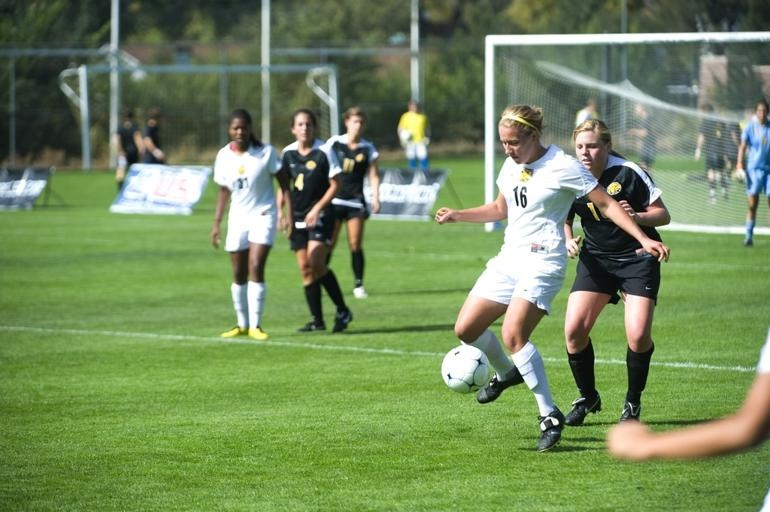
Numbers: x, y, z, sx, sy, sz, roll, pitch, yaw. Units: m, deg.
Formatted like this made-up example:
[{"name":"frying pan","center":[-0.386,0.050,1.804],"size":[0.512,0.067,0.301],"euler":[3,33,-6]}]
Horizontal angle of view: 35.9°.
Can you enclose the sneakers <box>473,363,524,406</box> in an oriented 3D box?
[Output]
[{"name":"sneakers","center":[1.219,1.405,12.846],"size":[0.644,0.283,0.247],"euler":[-34,22,16]}]

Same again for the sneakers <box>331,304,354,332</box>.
[{"name":"sneakers","center":[-0.591,0.848,15.411],"size":[0.150,0.202,0.429],"euler":[-11,38,55]}]

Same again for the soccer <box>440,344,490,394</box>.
[{"name":"soccer","center":[0.868,1.195,13.045],"size":[0.516,0.521,0.519],"euler":[-39,-2,3]}]

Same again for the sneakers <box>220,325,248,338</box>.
[{"name":"sneakers","center":[-1.912,0.971,15.057],"size":[0.272,0.115,0.157],"euler":[2,-8,-11]}]

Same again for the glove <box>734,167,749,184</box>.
[{"name":"glove","center":[6.093,-1.380,20.314],"size":[0.243,0.308,0.281],"euler":[1,49,9]}]

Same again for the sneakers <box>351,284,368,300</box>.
[{"name":"sneakers","center":[-0.358,0.545,17.058],"size":[0.129,0.157,0.225],"euler":[0,-10,-9]}]

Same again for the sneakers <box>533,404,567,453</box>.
[{"name":"sneakers","center":[1.749,1.738,12.240],"size":[0.190,0.555,0.282],"euler":[-1,-32,47]}]

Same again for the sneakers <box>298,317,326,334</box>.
[{"name":"sneakers","center":[-0.950,0.916,15.322],"size":[0.340,0.158,0.157],"euler":[1,-1,-1]}]

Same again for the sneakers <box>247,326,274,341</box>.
[{"name":"sneakers","center":[-1.610,0.987,14.991],"size":[0.135,0.105,0.240],"euler":[-14,12,-39]}]
